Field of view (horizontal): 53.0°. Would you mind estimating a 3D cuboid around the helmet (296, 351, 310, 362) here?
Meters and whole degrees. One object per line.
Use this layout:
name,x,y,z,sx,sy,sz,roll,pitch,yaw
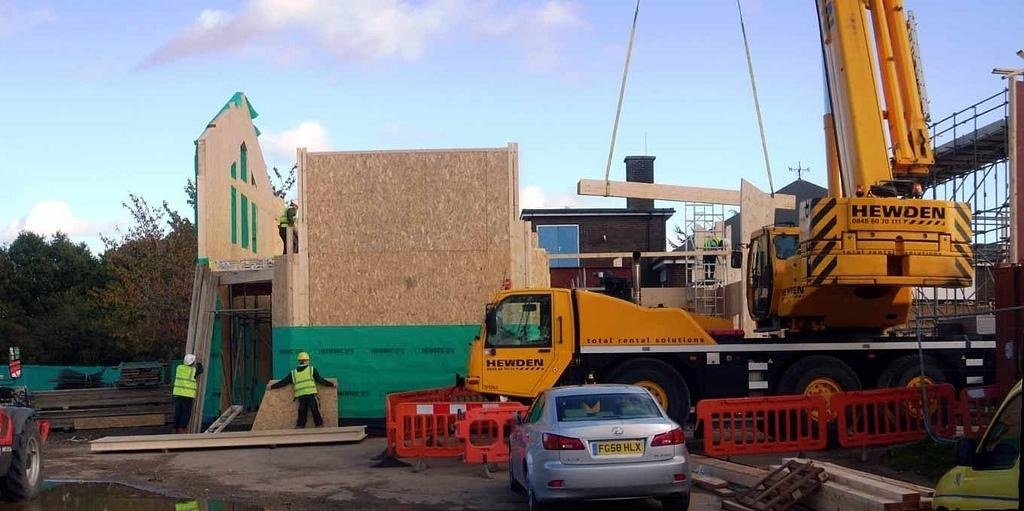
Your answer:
helmet,-7.675,3.689,37.407,0.394,0.219,0.448,0,3,2
